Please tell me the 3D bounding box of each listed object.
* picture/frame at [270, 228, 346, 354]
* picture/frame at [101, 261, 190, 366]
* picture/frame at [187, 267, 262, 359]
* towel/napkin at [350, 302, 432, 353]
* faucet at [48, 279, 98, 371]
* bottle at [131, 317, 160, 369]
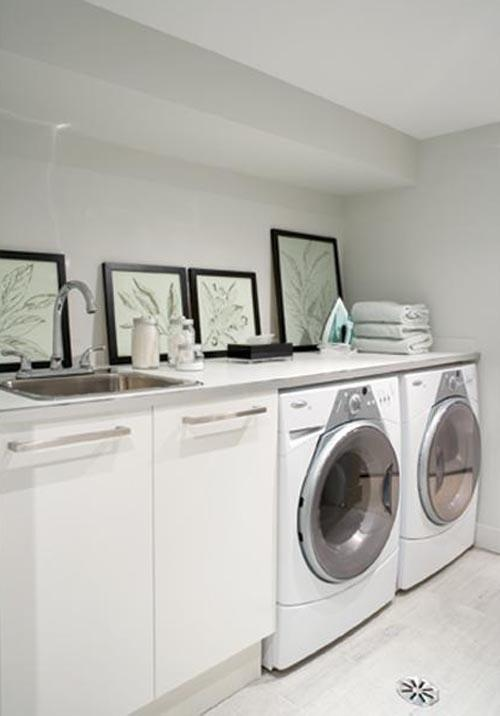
[{"bbox_3d":[0.294,-0.342,2.634,0.045,0.786,0.579,2,6,44],"label":"picture/frame"},{"bbox_3d":[-0.407,-0.160,1.880,0.014,0.424,0.365,-2,0,36],"label":"picture/frame"},{"bbox_3d":[-0.123,-0.195,2.209,0.024,0.393,0.363,-1,3,38],"label":"picture/frame"},{"bbox_3d":[0.705,-0.124,2.509,0.291,0.259,0.295,6,6,42],"label":"towel/napkin"},{"bbox_3d":[-0.567,-0.107,1.598,0.127,0.284,0.436,-1,1,-19],"label":"faucet"},{"bbox_3d":[-0.382,-0.050,1.745,0.138,0.178,0.080,1,2,37],"label":"bottle"}]
